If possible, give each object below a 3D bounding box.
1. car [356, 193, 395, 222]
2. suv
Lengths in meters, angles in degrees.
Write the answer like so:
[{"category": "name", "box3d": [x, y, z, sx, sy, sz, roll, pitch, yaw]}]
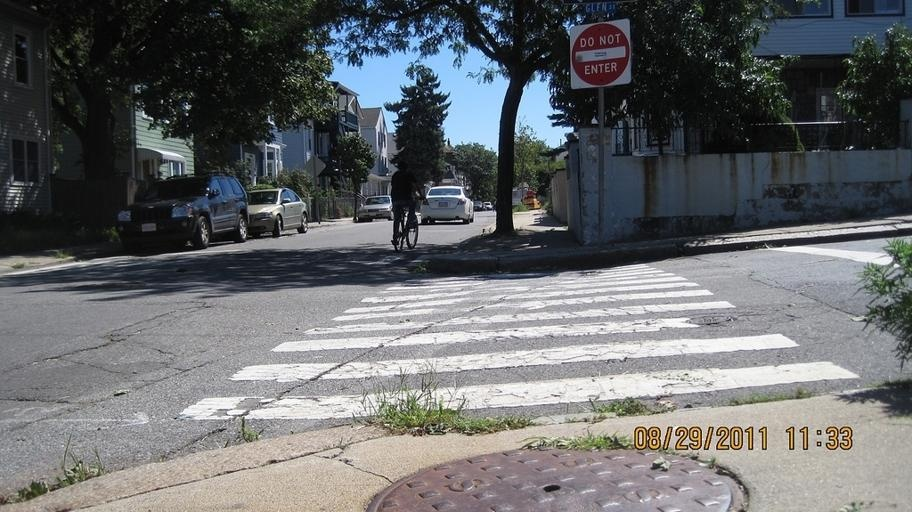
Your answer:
[{"category": "car", "box3d": [-5.366, -3.099, 50.674, 2.595, 1.569, 2.141, 2, 7, 32]}, {"category": "suv", "box3d": [-9.353, -1.524, 26.787, 2.068, 2.506, 4.675, 0, 6, 17]}]
